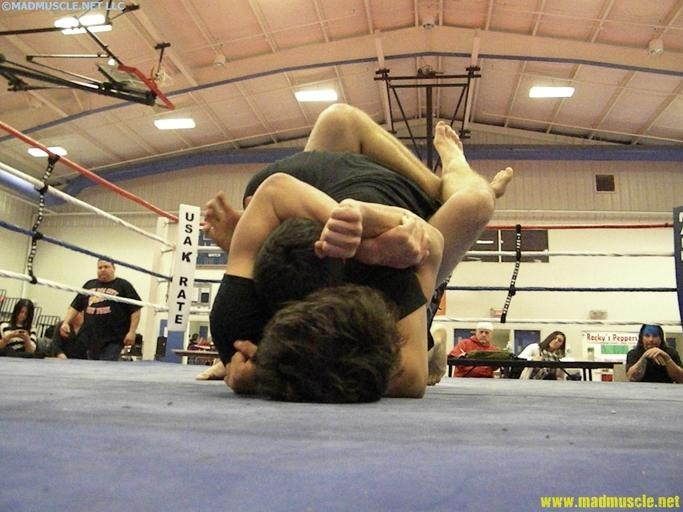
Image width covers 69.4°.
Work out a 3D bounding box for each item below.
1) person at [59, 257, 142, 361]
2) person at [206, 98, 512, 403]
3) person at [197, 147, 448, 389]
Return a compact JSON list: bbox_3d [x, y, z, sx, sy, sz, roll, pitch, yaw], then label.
[{"bbox_3d":[-2.087,0.477,4.378,0.834,0.864,0.466,1,-12,27],"label":"person"},{"bbox_3d":[0.089,-0.079,1.701,0.924,0.594,1.410,4,13,0],"label":"person"},{"bbox_3d":[-0.021,-0.062,1.521,0.597,0.361,0.821,5,28,7],"label":"person"}]
